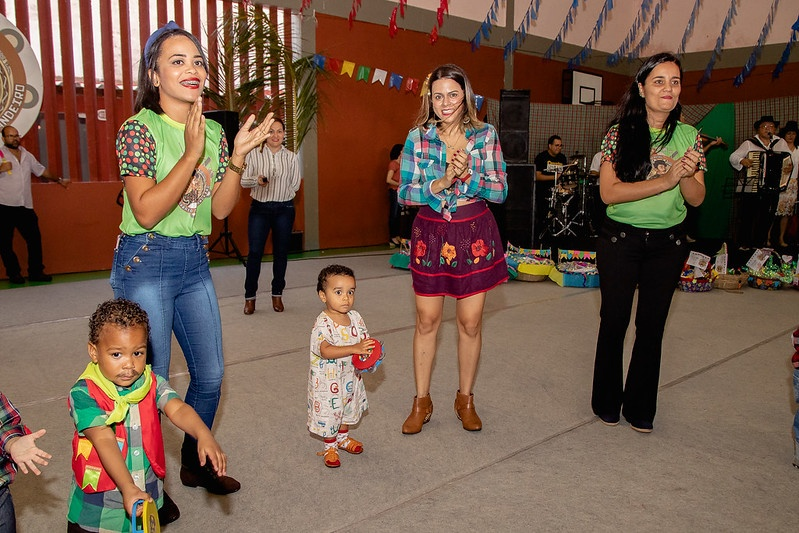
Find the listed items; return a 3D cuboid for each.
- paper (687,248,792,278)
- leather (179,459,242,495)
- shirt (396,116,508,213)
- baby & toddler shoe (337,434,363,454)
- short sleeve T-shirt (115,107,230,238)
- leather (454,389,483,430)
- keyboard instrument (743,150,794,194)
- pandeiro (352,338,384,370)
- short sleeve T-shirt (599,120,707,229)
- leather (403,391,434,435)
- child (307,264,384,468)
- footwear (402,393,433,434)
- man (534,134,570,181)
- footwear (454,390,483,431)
[{"bbox_3d":[4.561,-0.033,7.056,0.959,0.367,0.629,5,5,24],"label":"paper"},{"bbox_3d":[-0.986,1.128,2.951,0.400,0.191,0.146,7,27,-4],"label":"leather"},{"bbox_3d":[0.259,-0.563,3.368,0.808,0.785,0.479,0,10,-3],"label":"shirt"},{"bbox_3d":[-0.295,1.060,3.210,0.167,0.074,0.081,9,17,23],"label":"baby & toddler shoe"},{"bbox_3d":[-1.019,-0.415,2.480,0.507,0.590,0.308,-7,16,-28],"label":"short sleeve T-shirt"},{"bbox_3d":[0.429,0.925,3.479,0.106,0.137,0.301,-4,11,-14],"label":"leather"},{"bbox_3d":[5.819,-1.483,8.534,0.609,0.668,0.488,10,17,34],"label":"keyboard instrument"},{"bbox_3d":[-0.180,0.511,3.025,0.178,0.236,0.149,2,14,6],"label":"pandeiro"},{"bbox_3d":[1.519,-0.551,3.260,0.590,0.625,0.417,4,15,15],"label":"short sleeve T-shirt"},{"bbox_3d":[0.122,0.942,3.432,0.115,0.144,0.311,-2,6,30],"label":"leather"},{"bbox_3d":[-0.331,0.553,3.135,0.410,1.112,0.432,-3,14,-12],"label":"child"},{"bbox_3d":[0.122,0.943,3.442,0.115,0.143,0.308,-2,6,30],"label":"footwear"},{"bbox_3d":[2.863,-2.067,10.299,0.584,0.817,0.597,6,15,21],"label":"man"},{"bbox_3d":[0.427,0.924,3.461,0.107,0.137,0.302,-4,11,-14],"label":"footwear"}]
